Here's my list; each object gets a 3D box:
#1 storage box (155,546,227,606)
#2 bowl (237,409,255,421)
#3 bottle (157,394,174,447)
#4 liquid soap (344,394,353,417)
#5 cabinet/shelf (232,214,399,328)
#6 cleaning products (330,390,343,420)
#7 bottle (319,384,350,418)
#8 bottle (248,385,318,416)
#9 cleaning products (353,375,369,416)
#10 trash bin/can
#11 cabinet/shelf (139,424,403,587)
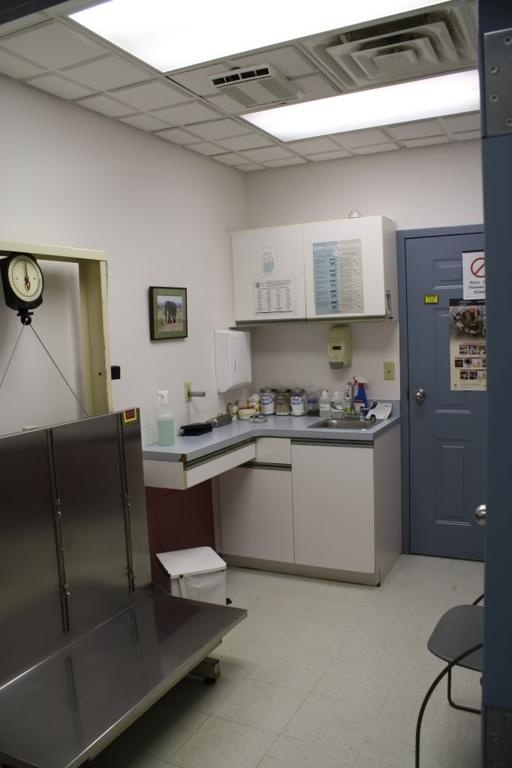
[{"bbox_3d":[-0.307,0.918,2.698,0.298,0.320,0.255,-1,-7,-37],"label":"storage box"},{"bbox_3d":[-0.065,0.217,3.797,0.076,0.052,0.081,-1,4,0],"label":"bowl"},{"bbox_3d":[-0.500,0.182,3.017,0.084,0.285,0.232,-2,2,-11],"label":"bottle"},{"bbox_3d":[0.637,0.149,3.775,0.061,0.132,0.151,-1,2,10],"label":"liquid soap"},{"bbox_3d":[0.410,-0.719,3.581,0.702,0.464,0.218,1,0,25],"label":"cabinet/shelf"},{"bbox_3d":[0.554,0.147,3.766,0.093,0.164,0.117,-2,2,8],"label":"cleaning products"},{"bbox_3d":[0.563,0.150,3.800,0.215,0.233,0.129,2,3,34],"label":"bottle"},{"bbox_3d":[0.219,0.131,4.027,0.448,0.195,0.328,-2,2,1],"label":"bottle"},{"bbox_3d":[0.713,0.085,3.754,0.102,0.245,0.205,-1,2,12],"label":"cleaning products"},{"bbox_3d":[-0.295,0.891,2.719,0.263,0.376,0.284,-8,-3,42],"label":"trash bin/can"},{"bbox_3d":[0.181,0.682,3.330,1.074,0.872,1.052,0,1,26],"label":"cabinet/shelf"}]
